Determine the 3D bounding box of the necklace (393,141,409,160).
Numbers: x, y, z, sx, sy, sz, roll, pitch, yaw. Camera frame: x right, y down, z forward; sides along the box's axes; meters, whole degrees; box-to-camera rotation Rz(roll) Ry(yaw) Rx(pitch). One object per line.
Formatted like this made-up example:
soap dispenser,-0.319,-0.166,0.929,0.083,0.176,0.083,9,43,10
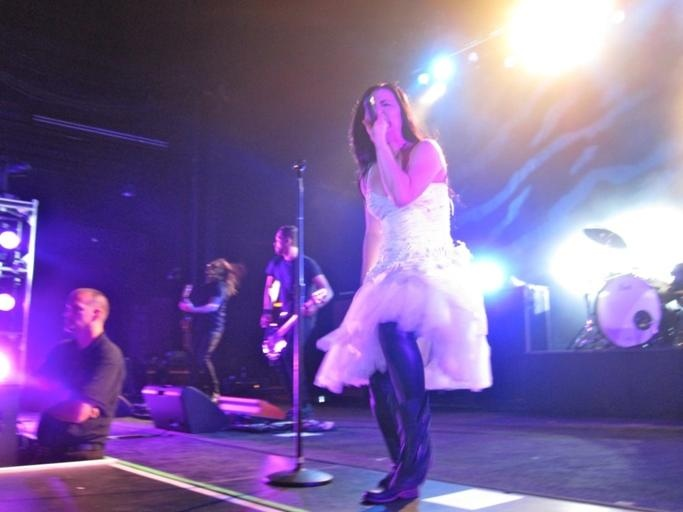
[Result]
necklace,0.315,-0.548,2.828,0.057,0.094,0.028,11,-38,42

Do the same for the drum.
drum,2.859,0.556,5.487,0.585,0.732,0.213,0,-7,24

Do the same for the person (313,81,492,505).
person,0.314,0.152,2.757,0.861,2.145,0.433,1,-6,14

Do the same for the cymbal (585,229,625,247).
cymbal,3.104,-0.216,6.499,0.548,0.221,0.289,5,-7,-21

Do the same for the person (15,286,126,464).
person,-1.775,0.789,3.671,0.670,1.143,0.304,1,-6,14

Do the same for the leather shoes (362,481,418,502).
leather shoes,0.222,1.142,2.677,0.305,0.134,0.112,3,-16,-5

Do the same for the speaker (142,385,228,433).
speaker,-1.506,1.428,5.126,0.790,0.440,0.392,-1,-7,25
